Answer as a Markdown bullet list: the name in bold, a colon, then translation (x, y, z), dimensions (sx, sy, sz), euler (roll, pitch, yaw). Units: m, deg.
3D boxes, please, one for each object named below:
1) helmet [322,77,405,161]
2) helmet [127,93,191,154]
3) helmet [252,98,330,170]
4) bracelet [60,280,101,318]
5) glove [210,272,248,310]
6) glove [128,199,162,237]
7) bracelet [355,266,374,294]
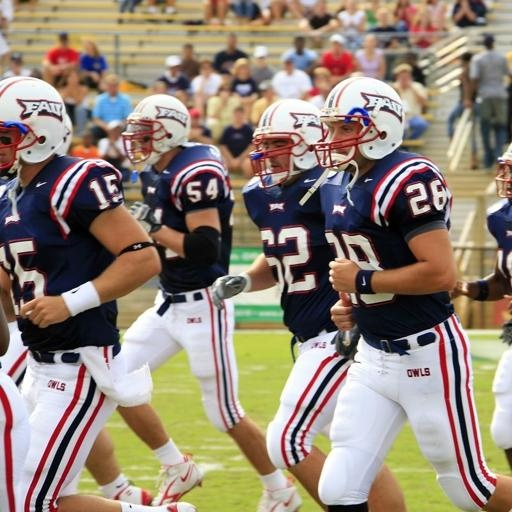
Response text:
- **helmet**: translation (0.395, -0.523, 3.654), dimensions (0.397, 0.269, 0.307), euler (-13, 13, -43)
- **helmet**: translation (-0.490, -0.707, 4.825), dimensions (0.335, 0.230, 0.226), euler (11, 11, -40)
- **helmet**: translation (0.110, -0.563, 4.334), dimensions (0.401, 0.289, 0.406), euler (2, 10, 12)
- **bracelet**: translation (-0.626, 0.148, 3.356), dimensions (0.139, 0.112, 0.046), euler (-22, -22, -8)
- **glove**: translation (-0.137, 0.142, 4.296), dimensions (0.191, 0.080, 0.137), euler (-32, 20, -2)
- **glove**: translation (-0.507, -0.186, 4.317), dimensions (0.099, 0.174, 0.070), euler (-58, 12, -19)
- **bracelet**: translation (0.386, 0.088, 3.422), dimensions (0.047, 0.074, 0.071), euler (4, -3, -21)
